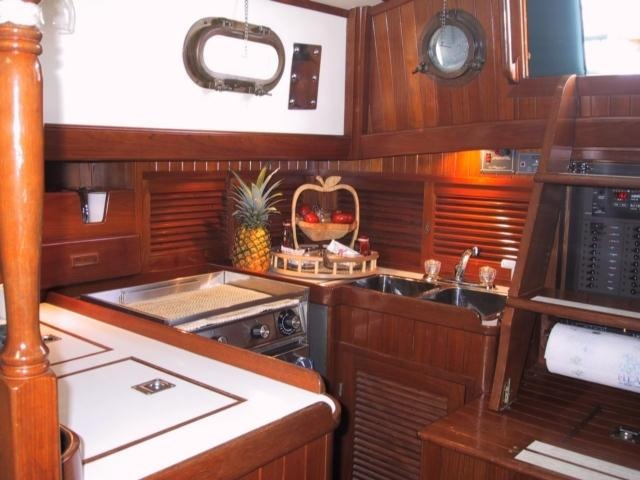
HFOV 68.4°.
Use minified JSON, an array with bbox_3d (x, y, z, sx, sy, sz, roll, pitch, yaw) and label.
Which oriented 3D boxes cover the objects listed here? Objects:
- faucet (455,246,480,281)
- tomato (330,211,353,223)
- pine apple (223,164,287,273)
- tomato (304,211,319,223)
[{"bbox_3d":[0.831,0.120,2.662,0.120,0.201,0.217,3,12,19],"label":"faucet"},{"bbox_3d":[0.132,-0.143,2.877,0.086,0.067,0.087,5,7,34],"label":"tomato"},{"bbox_3d":[-0.364,-0.064,2.740,0.235,0.499,0.229,-2,-2,4],"label":"pine apple"},{"bbox_3d":[-0.050,-0.135,2.854,0.066,0.068,0.080,-21,-25,40],"label":"tomato"}]
